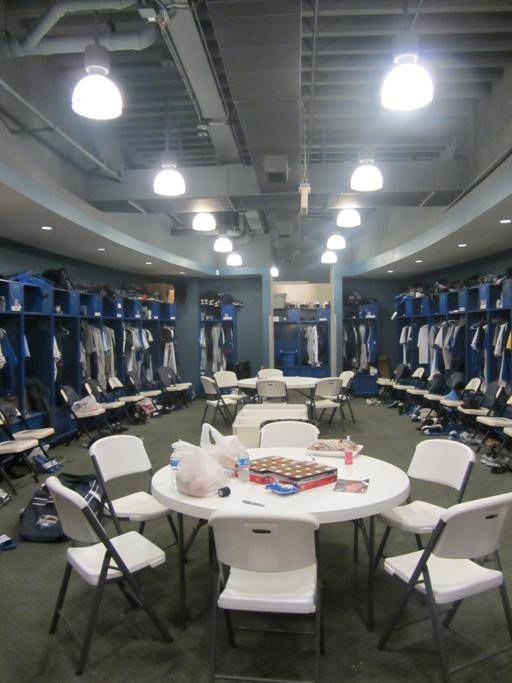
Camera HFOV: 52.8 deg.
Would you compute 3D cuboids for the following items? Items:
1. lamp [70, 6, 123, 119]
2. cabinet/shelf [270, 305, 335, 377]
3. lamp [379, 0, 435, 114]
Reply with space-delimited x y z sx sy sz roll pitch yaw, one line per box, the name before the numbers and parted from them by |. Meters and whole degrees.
lamp | -0.842 -1.418 2.730 0.238 0.388 0.232 5 10 17
cabinet/shelf | 1.066 -0.006 11.329 1.641 2.010 0.612 0 -2 8
lamp | 0.747 -1.338 2.553 0.223 0.324 0.218 -6 5 -31
